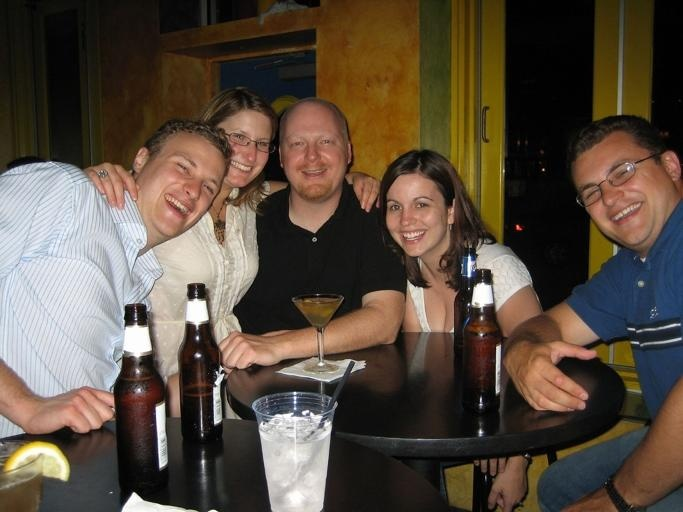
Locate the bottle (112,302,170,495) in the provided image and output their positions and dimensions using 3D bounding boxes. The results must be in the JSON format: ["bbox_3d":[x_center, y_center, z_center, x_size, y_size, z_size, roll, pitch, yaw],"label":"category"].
[{"bbox_3d":[-0.554,0.379,1.576,0.134,0.520,0.193,-2,4,-22],"label":"bottle"}]

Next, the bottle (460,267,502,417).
[{"bbox_3d":[0.497,0.292,1.976,0.137,0.505,0.136,0,4,0],"label":"bottle"}]

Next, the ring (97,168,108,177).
[{"bbox_3d":[-1.028,-0.358,2.454,0.037,0.014,0.037,8,37,-6],"label":"ring"}]
